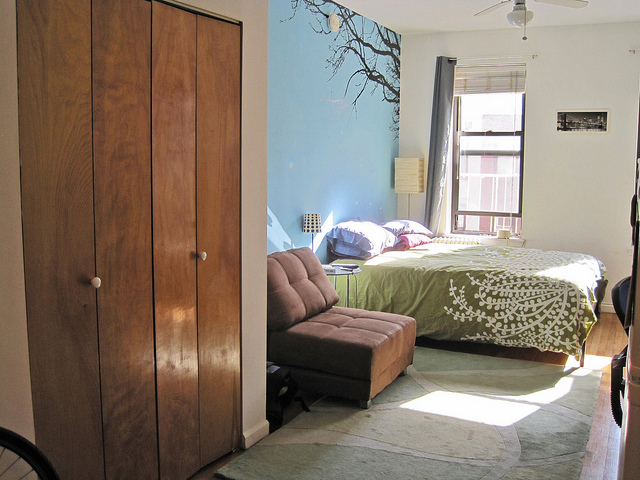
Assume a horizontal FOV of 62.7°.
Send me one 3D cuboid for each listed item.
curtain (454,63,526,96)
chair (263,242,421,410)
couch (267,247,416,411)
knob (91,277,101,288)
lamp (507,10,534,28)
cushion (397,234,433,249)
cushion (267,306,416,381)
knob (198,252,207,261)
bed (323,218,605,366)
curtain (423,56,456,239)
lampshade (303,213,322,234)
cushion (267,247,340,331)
[{"bbox_3d":[2.076,-1.985,6.474,0.854,0.408,0.084,6,42,23],"label":"curtain"},{"bbox_3d":[0.095,0.574,3.968,1.147,0.854,1.138,6,6,35],"label":"chair"},{"bbox_3d":[0.139,0.558,3.843,0.967,0.861,0.995,2,6,27],"label":"couch"},{"bbox_3d":[-0.965,0.186,2.275,0.042,0.049,0.033,-5,10,-34],"label":"knob"},{"bbox_3d":[1.680,-1.866,4.462,0.184,0.104,0.193,0,8,2],"label":"lamp"},{"bbox_3d":[1.061,-0.006,5.799,0.069,0.148,0.384,-25,-14,38],"label":"cushion"},{"bbox_3d":[0.162,0.717,3.800,0.896,0.272,0.739,4,10,21],"label":"cushion"},{"bbox_3d":[-0.593,0.081,2.667,0.035,0.034,0.024,28,-9,-34],"label":"knob"},{"bbox_3d":[1.285,0.389,4.787,1.795,0.786,1.510,6,13,26],"label":"bed"},{"bbox_3d":[1.506,-1.164,6.648,0.378,2.250,0.278,-7,11,-41],"label":"curtain"},{"bbox_3d":[-0.077,-0.160,4.914,0.178,0.189,0.049,-1,-2,-12],"label":"lampshade"},{"bbox_3d":[-0.168,0.347,3.835,0.182,0.493,0.642,-32,-7,34],"label":"cushion"}]
